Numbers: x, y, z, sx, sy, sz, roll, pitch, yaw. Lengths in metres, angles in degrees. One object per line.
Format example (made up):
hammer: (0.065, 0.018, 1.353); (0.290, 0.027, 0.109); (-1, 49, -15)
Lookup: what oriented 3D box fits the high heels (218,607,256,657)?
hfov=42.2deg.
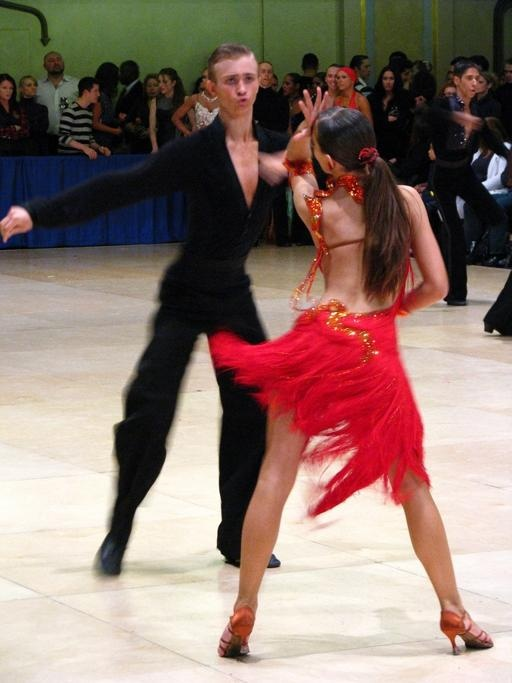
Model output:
high heels: (-0.041, 0.625, 1.456); (0.081, 0.136, 0.065); (10, 35, -4)

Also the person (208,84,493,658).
person: (0.202, 0.046, 1.626); (0.619, 1.243, 0.709); (-1, 15, -4)
